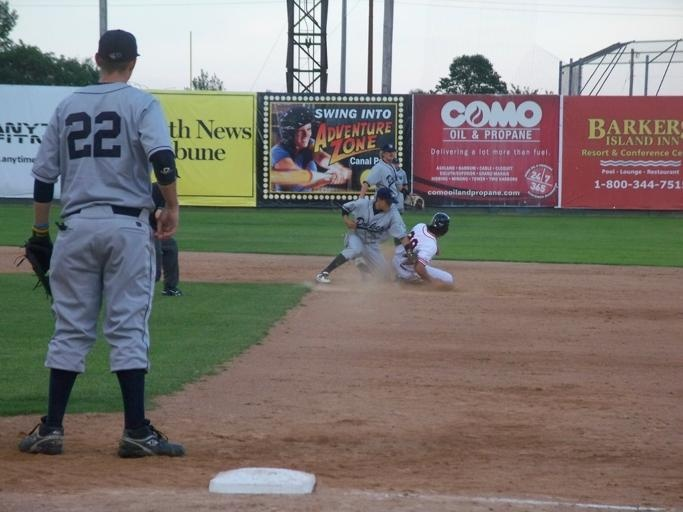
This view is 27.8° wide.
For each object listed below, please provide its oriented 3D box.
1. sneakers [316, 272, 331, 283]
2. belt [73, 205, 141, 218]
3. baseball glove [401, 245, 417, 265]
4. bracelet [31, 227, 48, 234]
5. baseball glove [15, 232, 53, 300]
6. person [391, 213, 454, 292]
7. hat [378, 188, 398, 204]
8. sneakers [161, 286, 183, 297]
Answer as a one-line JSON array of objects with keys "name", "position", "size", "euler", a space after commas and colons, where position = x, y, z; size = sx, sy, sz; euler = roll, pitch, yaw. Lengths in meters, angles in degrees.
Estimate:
[{"name": "sneakers", "position": [-0.290, 0.294, 19.977], "size": [0.281, 0.181, 0.088], "euler": [0, 42, -14]}, {"name": "belt", "position": [-2.312, -0.451, 13.592], "size": [0.659, 0.116, 0.091], "euler": [1, 7, -9]}, {"name": "baseball glove", "position": [0.973, 0.024, 19.545], "size": [0.109, 0.224, 0.229], "euler": [-10, 38, -10]}, {"name": "bracelet", "position": [-3.052, -0.272, 13.886], "size": [0.104, 0.051, 0.082], "euler": [1, 6, -2]}, {"name": "baseball glove", "position": [-3.103, 0.036, 14.050], "size": [0.256, 0.756, 0.312], "euler": [-19, 18, -2]}, {"name": "person", "position": [1.196, -0.100, 19.866], "size": [0.827, 1.050, 0.990], "euler": [2, 7, -3]}, {"name": "hat", "position": [0.660, -0.887, 19.996], "size": [0.286, 0.140, 0.201], "euler": [27, 12, -2]}, {"name": "sneakers", "position": [-2.308, 0.468, 18.647], "size": [0.284, 0.121, 0.096], "euler": [0, 50, -5]}]
